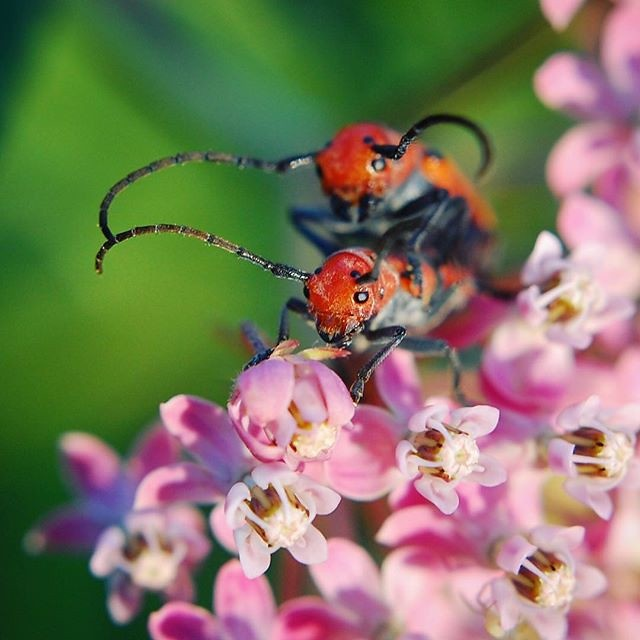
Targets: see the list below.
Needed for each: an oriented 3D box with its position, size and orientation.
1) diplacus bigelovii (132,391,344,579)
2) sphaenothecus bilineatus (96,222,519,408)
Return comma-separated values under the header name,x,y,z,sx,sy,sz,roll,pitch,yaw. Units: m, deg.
name,x,y,z,sx,sy,sz,roll,pitch,yaw
diplacus bigelovii,-0.059,0.120,0.625,0.124,0.136,0.047,-28,-6,-28
sphaenothecus bilineatus,-0.013,-0.076,0.668,0.146,0.208,0.167,15,34,38
